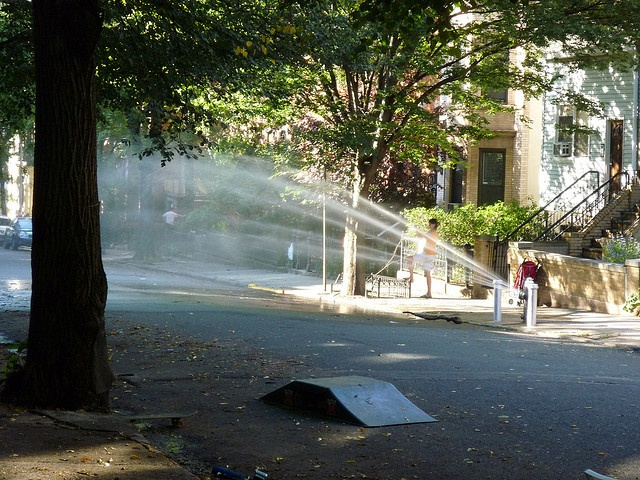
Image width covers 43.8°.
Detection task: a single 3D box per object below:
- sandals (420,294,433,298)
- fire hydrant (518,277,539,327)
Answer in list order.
[{"bbox_3d":[3.129,1.652,23.664,0.299,0.093,0.136,3,-2,3],"label":"sandals"},{"bbox_3d":[4.685,1.408,17.992,0.375,1.049,0.728,5,1,14],"label":"fire hydrant"}]
